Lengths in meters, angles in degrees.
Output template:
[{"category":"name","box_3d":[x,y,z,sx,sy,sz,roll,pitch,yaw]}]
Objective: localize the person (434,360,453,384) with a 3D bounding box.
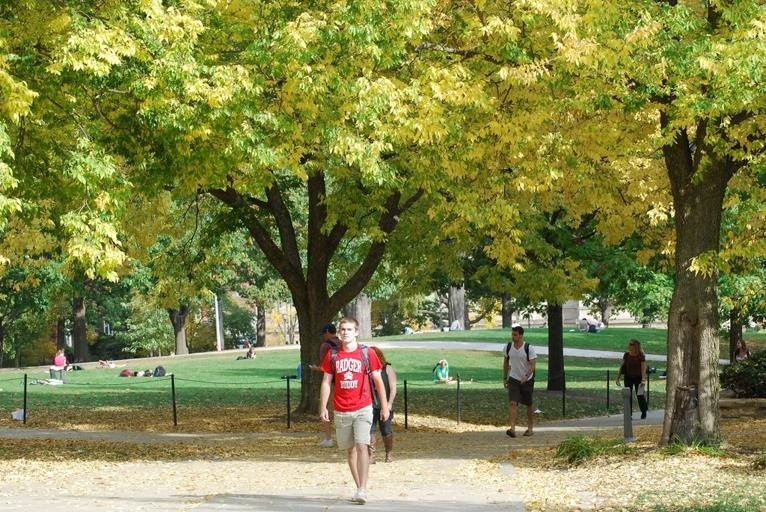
[{"category":"person","box_3d":[2.062,3.917,46.173,0.749,0.905,0.679,0,-2,-36]}]

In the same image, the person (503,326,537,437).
[{"category":"person","box_3d":[3.201,2.942,32.114,0.703,2.617,1.159,-2,-7,4]}]

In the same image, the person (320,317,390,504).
[{"category":"person","box_3d":[-0.588,2.927,25.945,1.119,3.511,0.645,-1,-6,-4]}]

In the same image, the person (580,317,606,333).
[{"category":"person","box_3d":[12.386,3.954,82.168,1.257,0.646,1.827,-1,-5,30]}]

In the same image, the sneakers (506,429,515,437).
[{"category":"sneakers","box_3d":[2.985,4.160,31.938,0.122,0.114,0.280,25,-27,29]}]
